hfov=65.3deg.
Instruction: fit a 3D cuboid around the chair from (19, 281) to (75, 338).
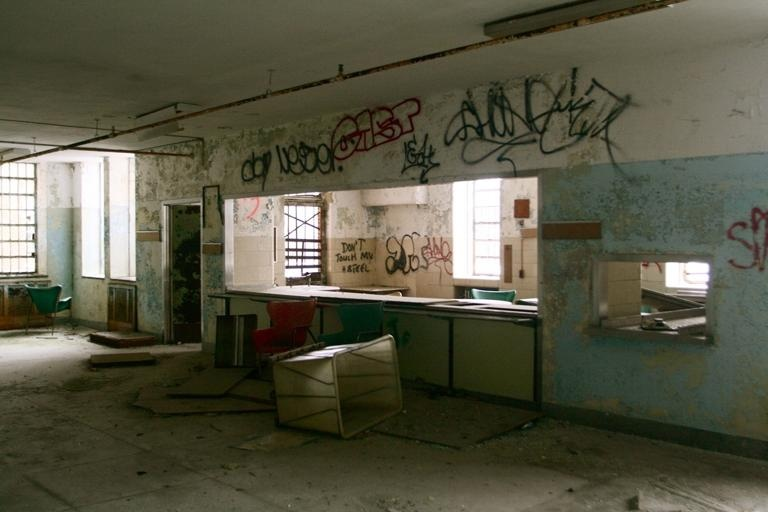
[{"bbox_3d":[-7.265,1.079,12.992,0.888,0.903,0.754,3,3,11],"label":"chair"}]
